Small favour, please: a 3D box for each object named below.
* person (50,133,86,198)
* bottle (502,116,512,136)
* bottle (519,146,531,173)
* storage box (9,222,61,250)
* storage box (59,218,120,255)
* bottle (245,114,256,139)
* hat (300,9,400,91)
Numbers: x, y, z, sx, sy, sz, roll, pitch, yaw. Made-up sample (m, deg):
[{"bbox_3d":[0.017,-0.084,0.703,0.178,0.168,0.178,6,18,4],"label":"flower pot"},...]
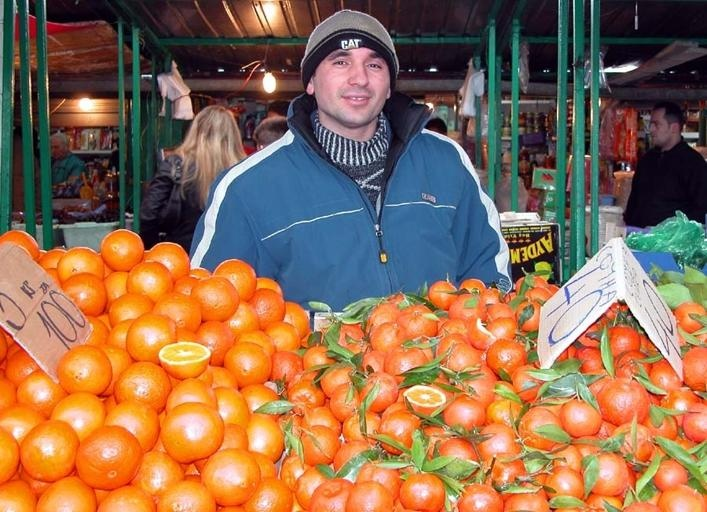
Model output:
[{"bbox_3d":[-4.577,-1.441,8.633,0.494,0.953,0.720,-8,16,-28],"label":"person"},{"bbox_3d":[2.716,-2.299,9.583,0.064,0.332,0.303,1,5,11],"label":"bottle"},{"bbox_3d":[2.931,-1.642,9.225,0.211,0.428,0.091,-1,-3,-9],"label":"bottle"},{"bbox_3d":[-1.927,-0.127,3.300,0.197,0.138,0.283,-3,4,-36],"label":"storage box"},{"bbox_3d":[-2.662,-0.226,5.484,0.662,0.395,0.993,-2,4,-15],"label":"storage box"},{"bbox_3d":[-1.915,-2.350,9.907,0.223,0.481,0.143,4,6,31],"label":"bottle"},{"bbox_3d":[-0.018,-0.961,2.505,0.450,0.324,0.320,-3,15,-6],"label":"hat"}]
